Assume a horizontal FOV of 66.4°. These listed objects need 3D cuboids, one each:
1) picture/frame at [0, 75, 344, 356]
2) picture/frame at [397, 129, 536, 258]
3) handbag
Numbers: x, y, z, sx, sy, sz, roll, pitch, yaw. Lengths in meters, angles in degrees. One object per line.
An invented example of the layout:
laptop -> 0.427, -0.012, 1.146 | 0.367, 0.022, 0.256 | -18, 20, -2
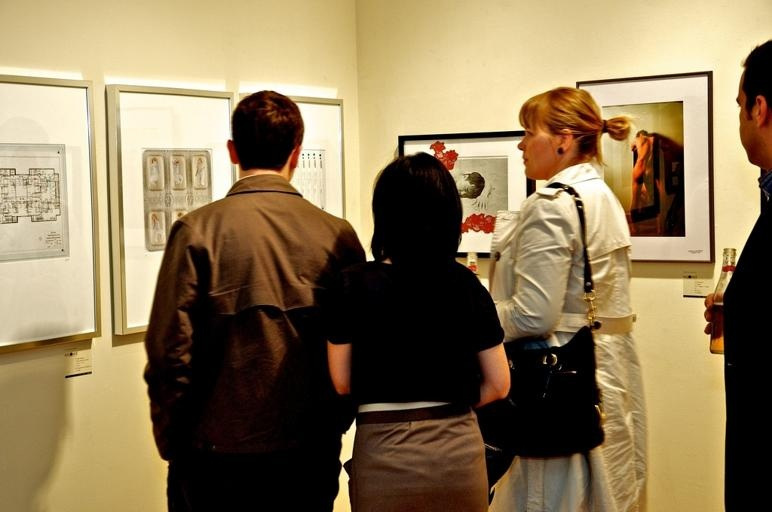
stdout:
picture/frame -> -0.987, -0.145, 2.490 | 1.352, 0.971, 0.045 | -3, 7, -30
picture/frame -> 0.399, -0.279, 2.625 | 0.730, 0.628, 0.029 | 0, -1, 16
handbag -> 0.582, 0.494, 2.193 | 0.556, 0.573, 0.269 | -2, 1, 20
